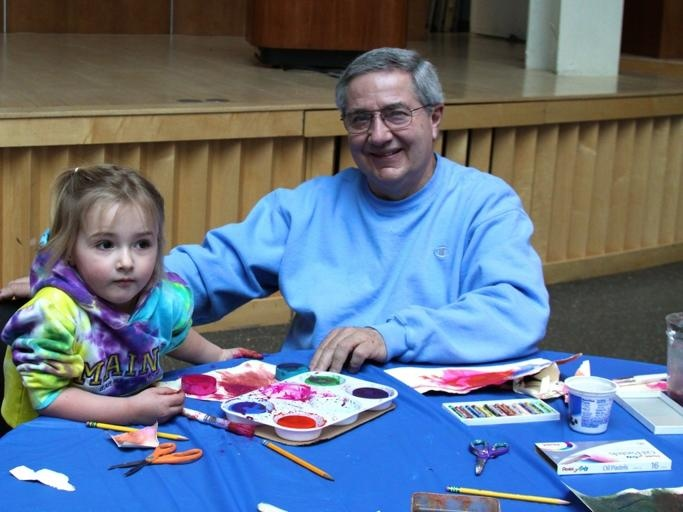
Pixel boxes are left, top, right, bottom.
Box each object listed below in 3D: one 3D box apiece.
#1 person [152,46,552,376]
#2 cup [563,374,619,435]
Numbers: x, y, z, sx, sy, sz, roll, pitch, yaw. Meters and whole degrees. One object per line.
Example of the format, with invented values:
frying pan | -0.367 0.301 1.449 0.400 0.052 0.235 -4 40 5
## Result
person | 0.061 -0.045 2.154 1.122 0.921 0.782 1 2 19
cup | 0.509 0.299 1.654 0.103 0.085 0.103 1 10 0
